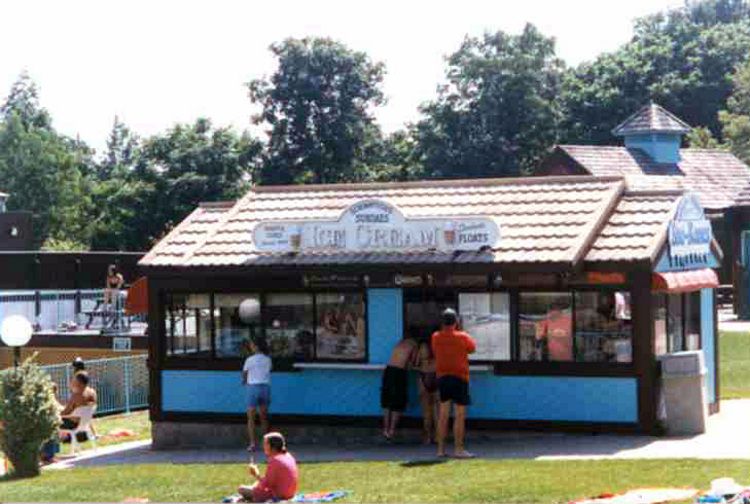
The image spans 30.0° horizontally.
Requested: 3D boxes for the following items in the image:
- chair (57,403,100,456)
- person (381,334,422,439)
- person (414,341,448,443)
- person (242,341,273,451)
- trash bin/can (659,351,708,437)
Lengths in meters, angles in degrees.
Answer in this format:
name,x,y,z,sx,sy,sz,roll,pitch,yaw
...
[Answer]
name,x,y,z,sx,sy,sz,roll,pitch,yaw
chair,-9.342,5.304,44.047,1.370,1.849,0.902,-14,33,-16
person,0.780,4.272,42.992,1.168,3.028,1.099,6,4,6
person,1.424,4.092,42.531,0.858,3.352,0.877,-6,-6,19
person,-3.577,4.456,43.017,1.100,3.194,1.015,-3,11,-9
trash bin/can,9.296,4.286,41.911,1.409,2.329,1.072,-4,12,-3
